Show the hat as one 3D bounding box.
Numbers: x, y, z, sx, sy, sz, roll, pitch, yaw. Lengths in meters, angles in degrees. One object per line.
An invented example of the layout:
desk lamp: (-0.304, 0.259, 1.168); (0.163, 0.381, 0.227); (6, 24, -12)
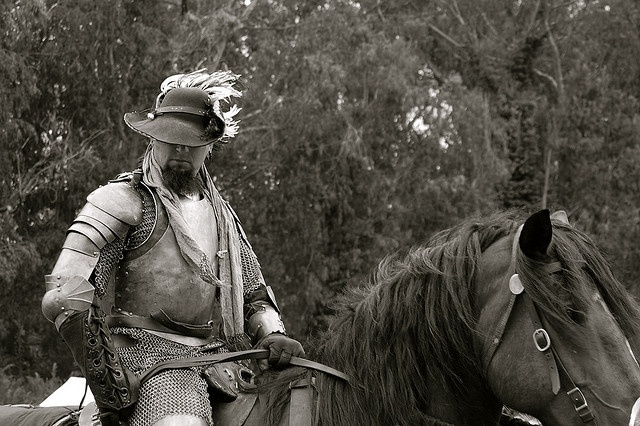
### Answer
hat: (-1.018, -0.623, 6.362); (0.463, 0.194, 0.432); (5, 4, 15)
